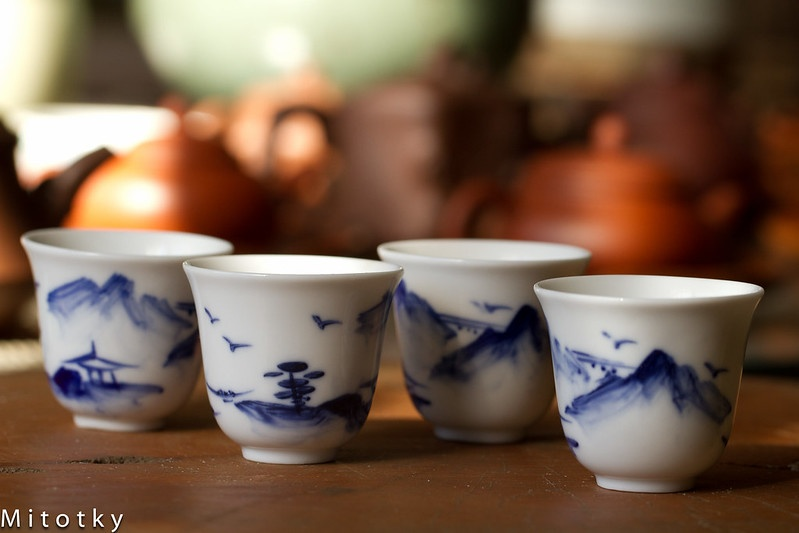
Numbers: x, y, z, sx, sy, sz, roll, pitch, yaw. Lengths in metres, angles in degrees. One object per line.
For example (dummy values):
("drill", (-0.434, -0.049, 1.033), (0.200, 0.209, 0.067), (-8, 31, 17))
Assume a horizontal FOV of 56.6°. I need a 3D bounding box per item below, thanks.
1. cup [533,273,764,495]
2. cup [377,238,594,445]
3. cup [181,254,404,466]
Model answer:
("cup", (0.223, 0.103, 0.780), (0.225, 0.165, 0.226), (1, 0, 0))
("cup", (0.106, 0.082, 0.935), (0.262, 0.192, 0.251), (1, -1, 0))
("cup", (-0.097, 0.094, 0.835), (0.245, 0.169, 0.224), (2, -2, 0))
